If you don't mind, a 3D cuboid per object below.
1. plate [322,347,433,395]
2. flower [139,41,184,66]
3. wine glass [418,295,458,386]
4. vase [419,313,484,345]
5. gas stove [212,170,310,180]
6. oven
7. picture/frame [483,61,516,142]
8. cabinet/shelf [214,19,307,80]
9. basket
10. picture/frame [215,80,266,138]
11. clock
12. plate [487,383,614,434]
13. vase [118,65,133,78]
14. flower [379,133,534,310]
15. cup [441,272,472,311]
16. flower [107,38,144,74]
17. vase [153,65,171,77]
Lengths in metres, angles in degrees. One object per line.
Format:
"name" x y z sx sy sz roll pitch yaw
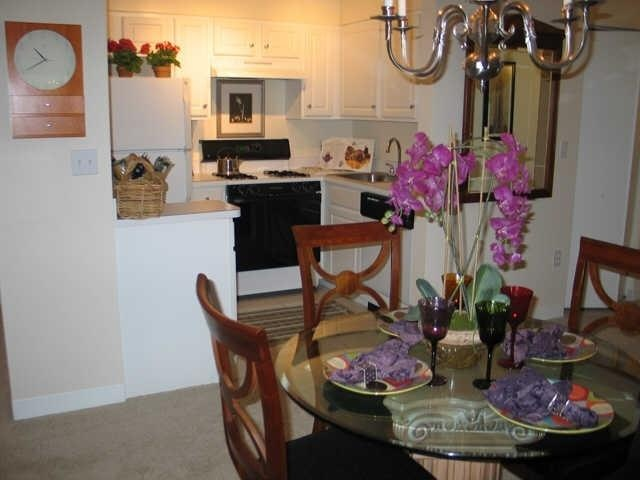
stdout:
"plate" 0.148 0.403 1.731 0.311 0.033 0.311 -16 -9 36
"flower" -1.300 -1.476 4.164 0.278 0.170 0.285 -13 3 34
"wine glass" 0.364 0.314 1.668 0.099 0.285 0.238 -2 11 4
"vase" 0.466 0.297 1.701 0.125 0.054 0.131 8 14 33
"gas stove" -0.535 -0.600 4.775 0.834 0.076 0.466 -7 11 -17
"oven" -0.491 -0.268 4.883 1.025 1.065 0.697 -3 13 -14
"picture/frame" 1.287 -0.994 3.739 0.187 0.538 0.023 1 4 5
"cabinet/shelf" -0.566 -1.714 4.824 0.836 0.515 0.312 1 2 -6
"basket" -1.037 -0.297 3.047 0.228 0.341 0.324 0 6 -19
"picture/frame" -0.791 -1.297 5.041 0.526 0.658 0.067 -2 10 -22
"clock" -1.443 -0.958 2.698 0.374 0.403 0.051 -3 10 -24
"plate" 0.693 0.501 1.518 0.362 0.068 0.195 -7 11 -18
"vase" -1.514 -1.313 4.047 0.088 0.067 0.092 2 28 -8
"flower" 0.491 -0.082 1.829 0.501 0.587 0.470 -8 23 -7
"cup" 0.457 0.175 1.736 0.095 0.111 0.096 -1 14 0
"flower" -1.481 -1.408 4.019 0.247 0.271 0.134 -20 1 -13
"vase" -1.254 -1.354 4.145 0.105 0.070 0.106 -13 25 -34
